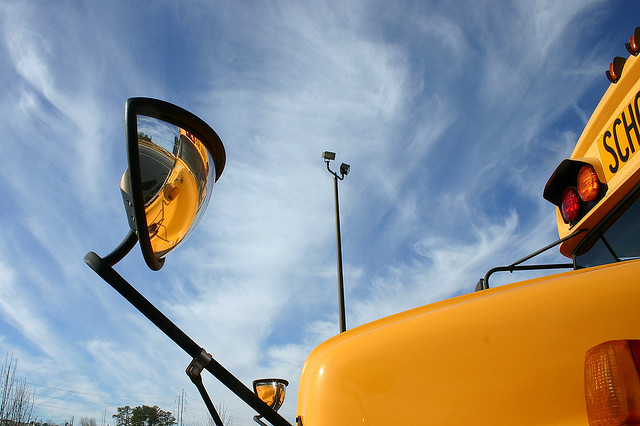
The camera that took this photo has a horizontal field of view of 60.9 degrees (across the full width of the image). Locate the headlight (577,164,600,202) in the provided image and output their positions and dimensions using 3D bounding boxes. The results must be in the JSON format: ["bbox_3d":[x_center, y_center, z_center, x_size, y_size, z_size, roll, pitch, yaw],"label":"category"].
[{"bbox_3d":[1.450,-0.159,2.951,0.041,0.166,0.106,15,-22,-25],"label":"headlight"}]

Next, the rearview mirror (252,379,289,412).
[{"bbox_3d":[-0.243,0.942,2.792,0.187,0.159,0.214,-11,-23,23],"label":"rearview mirror"}]
